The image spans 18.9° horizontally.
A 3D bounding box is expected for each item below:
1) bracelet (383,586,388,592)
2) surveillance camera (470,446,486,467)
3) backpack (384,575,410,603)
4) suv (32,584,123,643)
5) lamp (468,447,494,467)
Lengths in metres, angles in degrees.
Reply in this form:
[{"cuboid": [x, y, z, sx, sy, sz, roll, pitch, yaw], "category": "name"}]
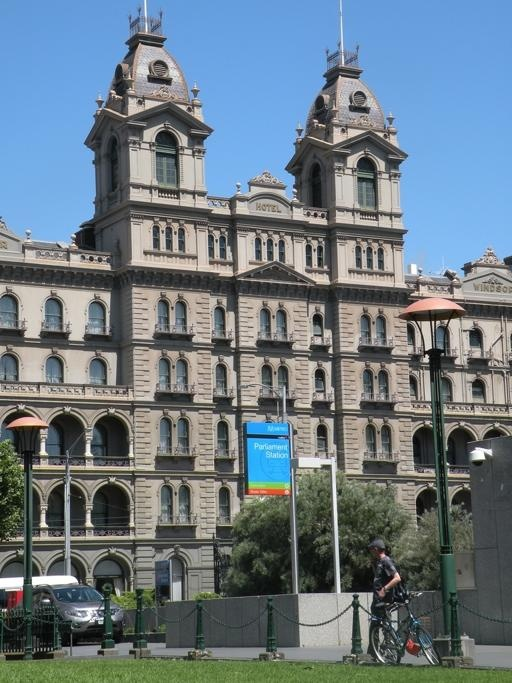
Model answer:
[{"cuboid": [2.552, 4.898, 30.417, 0.114, 0.029, 0.114, -17, -50, 26], "category": "bracelet"}, {"cuboid": [5.575, 2.879, 38.317, 0.387, 0.418, 0.438, 1, -5, -11], "category": "surveillance camera"}, {"cuboid": [2.941, 4.990, 30.863, 0.412, 0.717, 0.635, -6, -12, 41], "category": "backpack"}, {"cuboid": [-5.083, 7.945, 46.588, 2.154, 1.763, 4.070, 6, -17, -32], "category": "suv"}, {"cuboid": [5.632, 2.864, 38.420, 0.583, 0.417, 0.392, 4, -7, -23], "category": "lamp"}]
